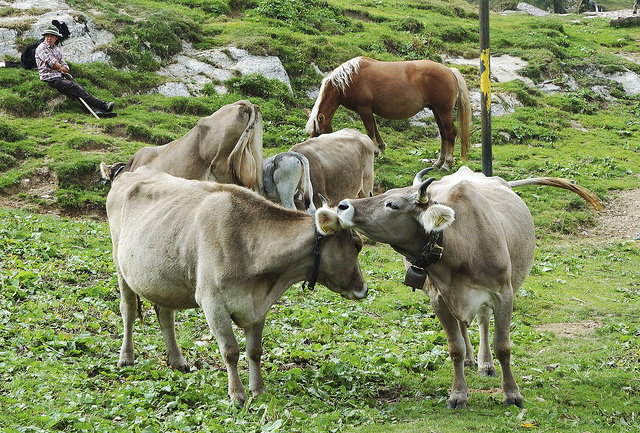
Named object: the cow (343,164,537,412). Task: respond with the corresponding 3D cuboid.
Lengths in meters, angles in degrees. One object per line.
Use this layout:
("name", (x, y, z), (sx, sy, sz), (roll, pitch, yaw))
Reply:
("cow", (2.632, 1.346, 16.838), (3.785, 4.496, 2.493), (-2, 12, -10))

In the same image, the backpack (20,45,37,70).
("backpack", (-9.066, -5.002, 25.933), (0.449, 0.752, 0.291), (-5, 13, -23))
